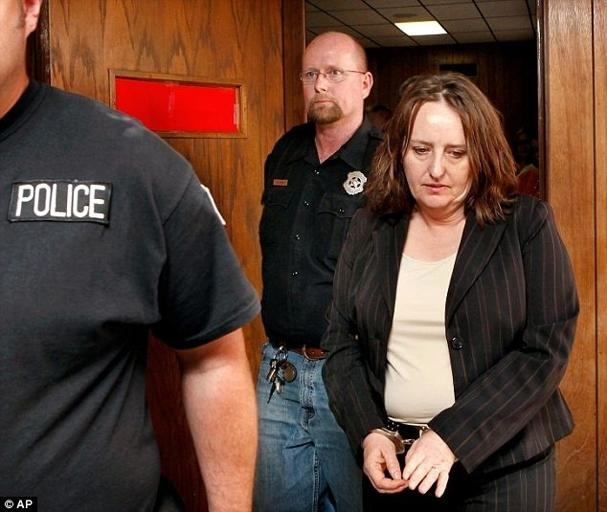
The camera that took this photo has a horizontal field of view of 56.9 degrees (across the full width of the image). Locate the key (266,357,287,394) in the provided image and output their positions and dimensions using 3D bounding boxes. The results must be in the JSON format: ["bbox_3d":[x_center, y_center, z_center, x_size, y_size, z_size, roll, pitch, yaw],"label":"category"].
[{"bbox_3d":[-0.112,0.497,2.353,0.082,0.133,0.052,5,4,26],"label":"key"}]

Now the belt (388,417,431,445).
[{"bbox_3d":[0.310,0.495,1.656,0.110,0.050,0.082,-4,6,-23],"label":"belt"}]

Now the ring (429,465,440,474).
[{"bbox_3d":[0.332,0.543,1.432,0.020,0.027,0.009,7,-11,-5],"label":"ring"}]
